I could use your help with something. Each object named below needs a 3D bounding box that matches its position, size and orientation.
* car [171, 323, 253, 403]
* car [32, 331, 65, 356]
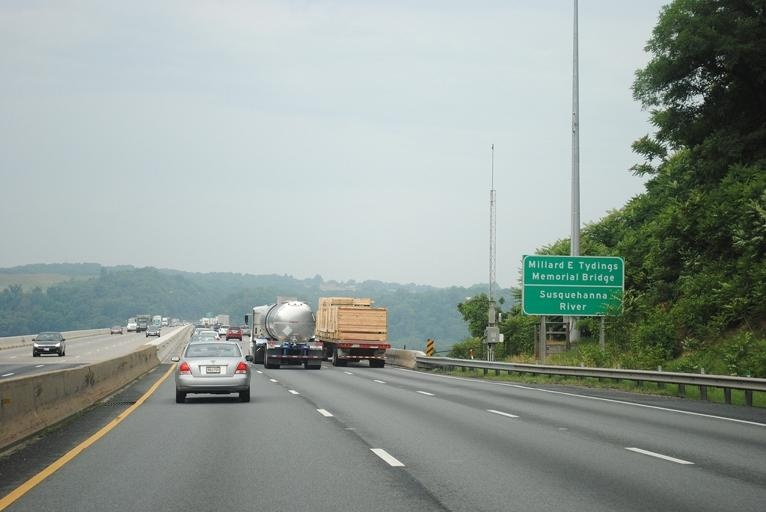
[{"bbox_3d":[-5.352,3.550,24.258,2.205,1.950,4.301,1,-4,-5],"label":"car"},{"bbox_3d":[-24.695,6.505,56.539,1.525,1.327,2.756,1,-12,-11],"label":"car"}]
